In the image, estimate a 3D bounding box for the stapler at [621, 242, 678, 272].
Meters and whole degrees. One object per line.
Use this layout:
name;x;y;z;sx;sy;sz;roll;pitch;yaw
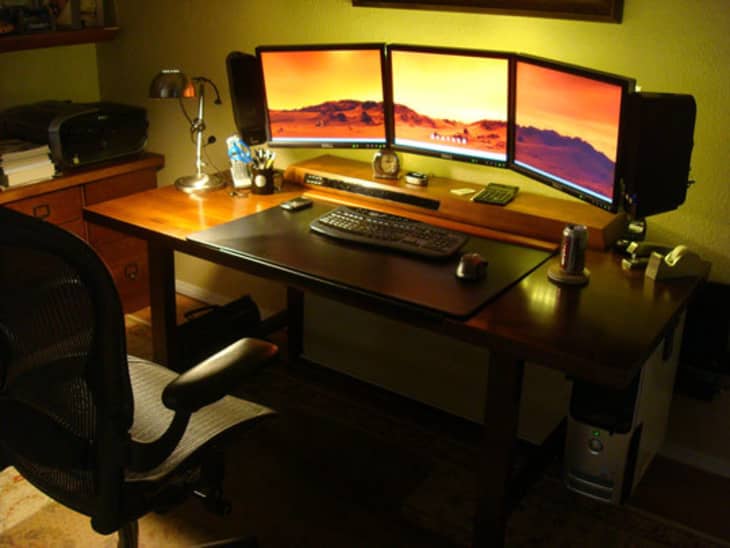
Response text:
stapler;1.034;-0.080;2.204;0.247;0.092;0.083;-17;28;-29

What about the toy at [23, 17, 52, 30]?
toy;-1.769;-1.339;3.212;0.020;0.076;0.170;10;28;22

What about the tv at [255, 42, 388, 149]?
tv;-0.176;-0.799;2.657;0.501;0.375;0.069;5;34;11

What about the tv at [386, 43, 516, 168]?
tv;0.363;-0.708;2.451;0.513;0.437;0.049;17;39;24

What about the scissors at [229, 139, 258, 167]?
scissors;-0.567;-0.550;2.769;0.099;0.059;0.162;-28;55;-29

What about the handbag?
handbag;-0.754;0.247;2.987;0.210;0.143;0.382;24;40;37
